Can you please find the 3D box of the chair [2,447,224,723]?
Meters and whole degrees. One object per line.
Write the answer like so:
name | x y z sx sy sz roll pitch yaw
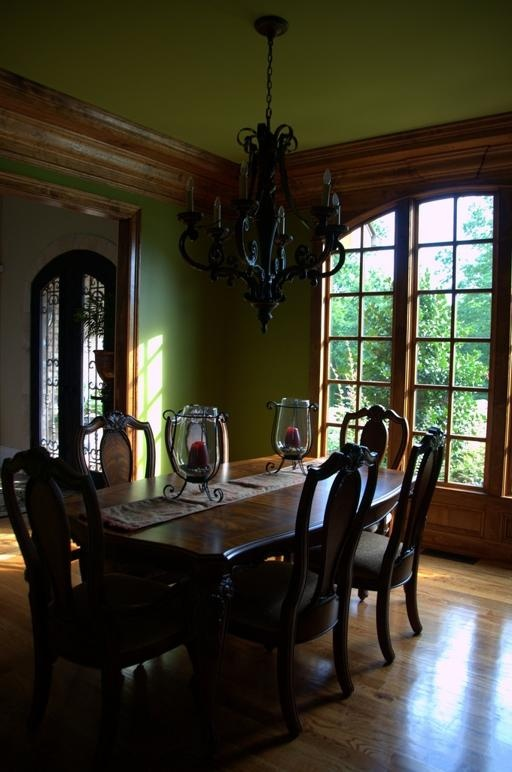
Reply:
chair | -0.428 0.597 1.807 0.611 0.863 0.638 2 1 -1

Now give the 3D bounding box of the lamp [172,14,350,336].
lamp | 0.052 -0.861 2.405 0.650 1.194 0.589 2 -1 -12

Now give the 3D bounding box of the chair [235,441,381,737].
chair | 0.067 0.626 2.033 0.518 0.910 0.564 -7 9 -44
